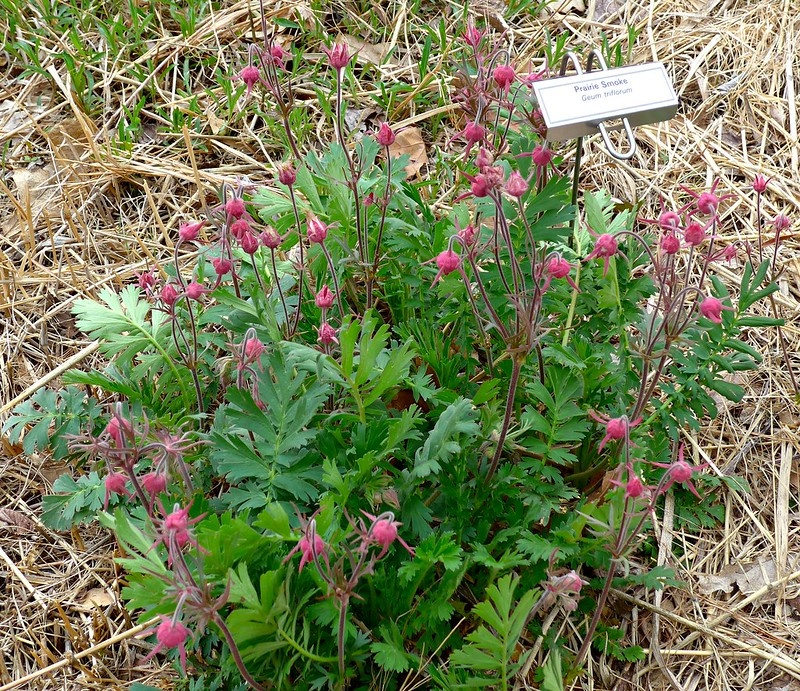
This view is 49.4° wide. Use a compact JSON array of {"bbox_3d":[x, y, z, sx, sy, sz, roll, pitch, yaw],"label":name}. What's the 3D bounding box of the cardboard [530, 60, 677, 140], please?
[{"bbox_3d":[0.776,-0.941,3.265,0.557,0.186,0.212,-20,62,-5],"label":"cardboard"}]
